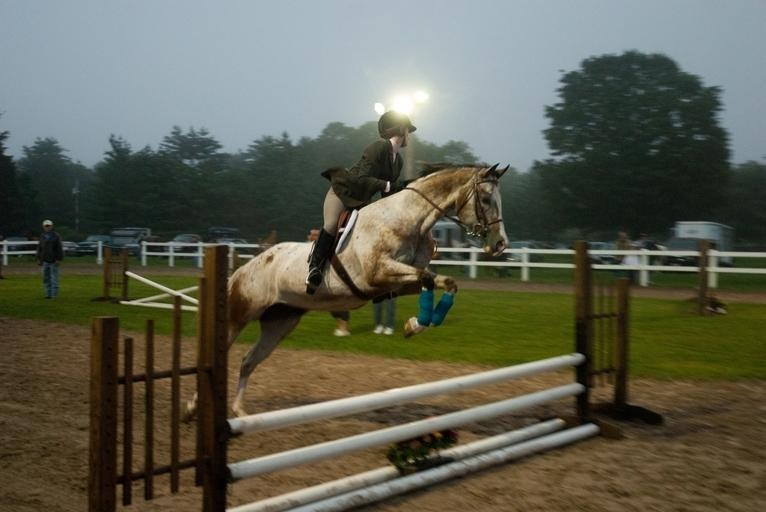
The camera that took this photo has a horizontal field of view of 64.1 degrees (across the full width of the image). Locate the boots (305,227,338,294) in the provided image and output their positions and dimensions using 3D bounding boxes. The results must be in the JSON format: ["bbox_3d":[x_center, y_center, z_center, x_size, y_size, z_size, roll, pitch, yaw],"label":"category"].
[{"bbox_3d":[-0.660,0.047,6.394,0.258,0.746,0.215,33,-54,-14],"label":"boots"}]

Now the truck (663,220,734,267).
[{"bbox_3d":[13.320,-0.624,24.568,4.034,1.518,1.810,-7,11,-30],"label":"truck"}]

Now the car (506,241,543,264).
[{"bbox_3d":[7.070,-0.249,30.359,2.549,0.840,1.329,0,-1,-9],"label":"car"}]

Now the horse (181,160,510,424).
[{"bbox_3d":[-0.493,0.401,6.817,4.234,2.140,0.809,-14,-26,32],"label":"horse"}]

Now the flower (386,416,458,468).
[{"bbox_3d":[0.330,1.707,5.556,0.522,0.169,0.346,-7,5,-36],"label":"flower"}]
